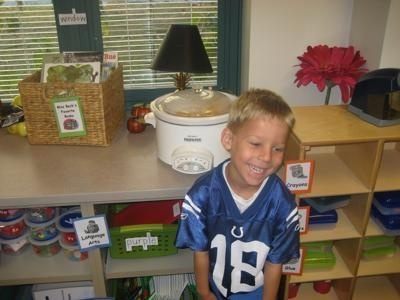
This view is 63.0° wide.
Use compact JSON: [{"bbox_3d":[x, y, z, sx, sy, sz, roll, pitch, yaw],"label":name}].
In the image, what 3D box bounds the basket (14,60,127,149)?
[{"bbox_3d":[-0.701,-0.245,1.865,0.448,0.312,0.452,0,24,-2],"label":"basket"}]
